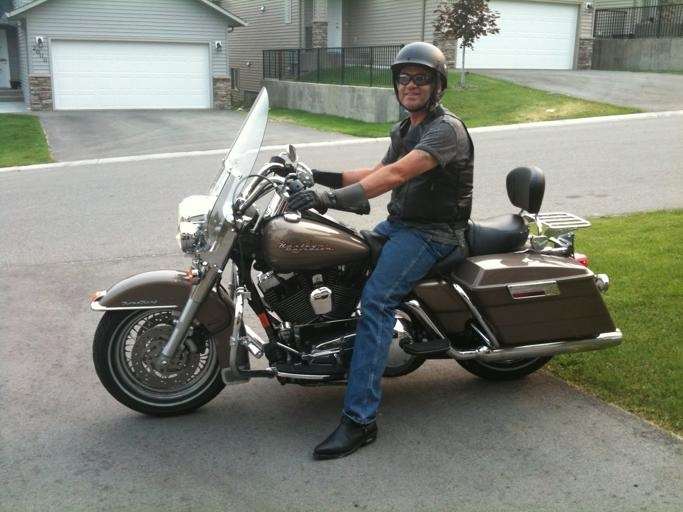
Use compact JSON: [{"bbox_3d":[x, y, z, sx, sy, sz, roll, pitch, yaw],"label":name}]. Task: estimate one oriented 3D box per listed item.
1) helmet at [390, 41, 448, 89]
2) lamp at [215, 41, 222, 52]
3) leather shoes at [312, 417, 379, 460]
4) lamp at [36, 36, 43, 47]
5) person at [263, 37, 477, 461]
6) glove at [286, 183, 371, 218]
[{"bbox_3d":[0.527,-1.354,3.919,0.388,0.327,0.429,12,49,13],"label":"helmet"},{"bbox_3d":[-6.152,-10.441,27.836,0.389,0.515,0.422,-5,20,-18],"label":"lamp"},{"bbox_3d":[0.031,1.129,3.562,0.533,0.222,0.200,-4,6,-41],"label":"leather shoes"},{"bbox_3d":[-13.509,-9.582,24.867,0.431,0.382,0.110,2,-4,-20],"label":"lamp"},{"bbox_3d":[0.291,-0.134,3.747,0.835,2.527,1.429,12,21,29],"label":"person"},{"bbox_3d":[-0.072,-0.361,3.489,0.527,0.187,0.187,-12,47,-27],"label":"glove"}]
